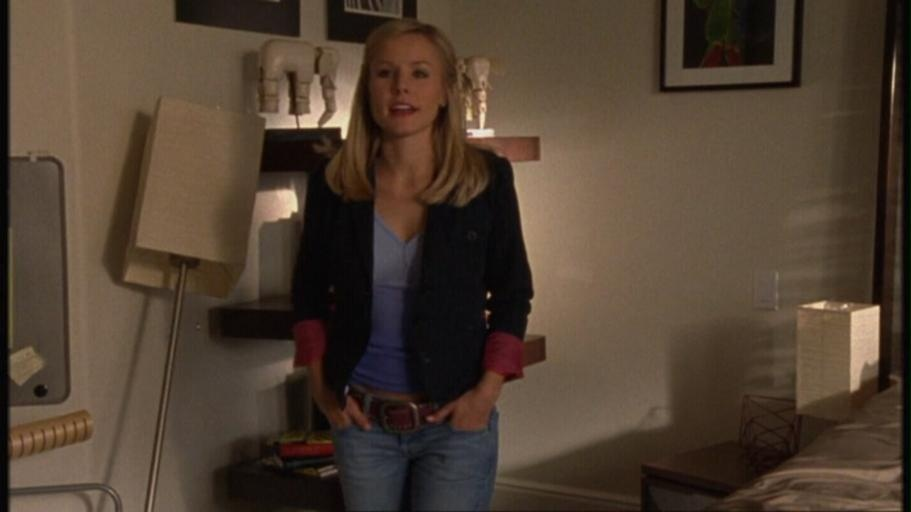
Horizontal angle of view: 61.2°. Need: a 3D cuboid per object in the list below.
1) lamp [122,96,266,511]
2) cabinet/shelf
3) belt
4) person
[{"bbox_3d":[-0.742,0.126,2.211,0.389,1.146,0.144,-1,2,-25],"label":"lamp"},{"bbox_3d":[-0.237,0.136,2.560,1.233,0.825,0.644,0,4,5],"label":"cabinet/shelf"},{"bbox_3d":[-0.153,0.357,1.825,0.137,0.040,0.111,6,4,25],"label":"belt"},{"bbox_3d":[-0.107,0.023,1.855,0.555,1.172,0.197,1,2,23],"label":"person"}]
